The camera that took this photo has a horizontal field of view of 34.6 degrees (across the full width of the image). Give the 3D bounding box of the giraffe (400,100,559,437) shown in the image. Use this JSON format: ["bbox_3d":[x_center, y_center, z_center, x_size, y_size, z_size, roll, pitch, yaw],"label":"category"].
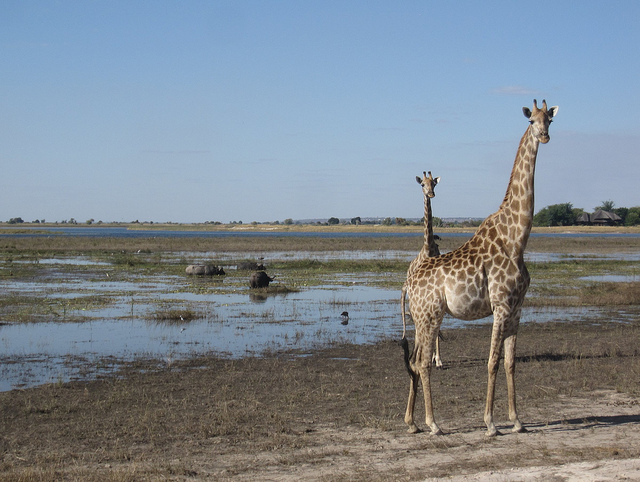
[{"bbox_3d":[3.472,0.564,22.336,2.902,7.190,1.341,1,4,7],"label":"giraffe"}]

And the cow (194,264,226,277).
[{"bbox_3d":[-5.565,1.505,51.089,1.470,0.943,0.540,-3,7,-25],"label":"cow"}]

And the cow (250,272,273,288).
[{"bbox_3d":[-2.623,1.686,44.133,0.765,0.598,0.629,0,4,-7],"label":"cow"}]

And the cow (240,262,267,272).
[{"bbox_3d":[-3.616,1.354,54.288,1.259,0.785,0.496,-3,0,15],"label":"cow"}]
